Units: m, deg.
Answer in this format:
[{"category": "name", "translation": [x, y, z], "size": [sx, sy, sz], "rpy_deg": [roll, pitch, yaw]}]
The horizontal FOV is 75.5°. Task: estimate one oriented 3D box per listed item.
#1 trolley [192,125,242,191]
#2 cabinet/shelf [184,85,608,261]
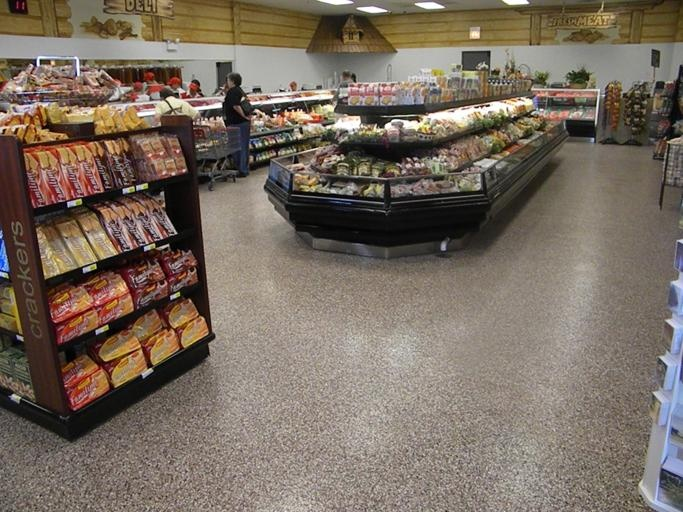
[{"category": "trolley", "translation": [-2.297, -1.893, 8.093], "size": [0.824, 0.896, 0.796], "rpy_deg": [6, 16, 38]}, {"category": "cabinet/shelf", "translation": [1.363, -1.360, 6.344], "size": [2.297, 1.427, 4.647], "rpy_deg": [13, 29, 33]}]
